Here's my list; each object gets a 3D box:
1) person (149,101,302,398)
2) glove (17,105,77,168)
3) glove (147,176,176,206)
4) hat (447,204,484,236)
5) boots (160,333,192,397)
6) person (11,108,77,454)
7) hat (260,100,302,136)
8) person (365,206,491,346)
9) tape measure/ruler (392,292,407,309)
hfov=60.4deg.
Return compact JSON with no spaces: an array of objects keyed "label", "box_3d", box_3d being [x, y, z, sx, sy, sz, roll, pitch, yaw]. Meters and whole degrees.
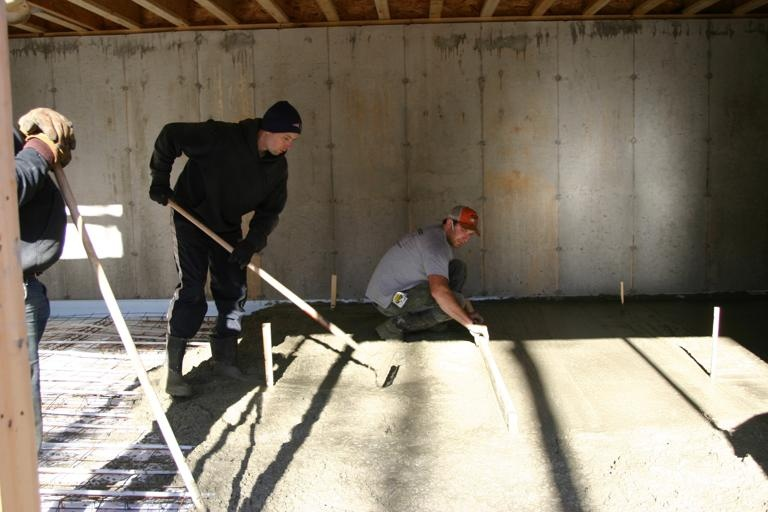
[{"label":"person","box_3d":[-1.169,-0.069,4.886,1.001,2.088,0.500,-4,10,-19]},{"label":"glove","box_3d":[-1.949,-0.736,3.939,0.290,0.378,0.165,-23,2,33]},{"label":"glove","box_3d":[-1.629,-0.470,4.793,0.155,0.205,0.074,4,2,-2]},{"label":"hat","box_3d":[0.643,-0.301,5.376,0.235,0.207,0.217,-1,10,0]},{"label":"boots","box_3d":[-1.531,0.784,4.846,0.181,0.432,0.337,-5,10,-19]},{"label":"person","box_3d":[-1.961,0.199,3.913,0.375,2.124,0.642,-6,11,-25]},{"label":"hat","box_3d":[-0.735,-0.980,4.716,0.240,0.182,0.241,9,-1,-30]},{"label":"person","box_3d":[0.351,0.150,5.408,0.992,1.097,0.484,7,13,40]},{"label":"tape measure/ruler","box_3d":[0.131,0.363,5.453,0.126,0.139,0.041,0,10,4]}]
